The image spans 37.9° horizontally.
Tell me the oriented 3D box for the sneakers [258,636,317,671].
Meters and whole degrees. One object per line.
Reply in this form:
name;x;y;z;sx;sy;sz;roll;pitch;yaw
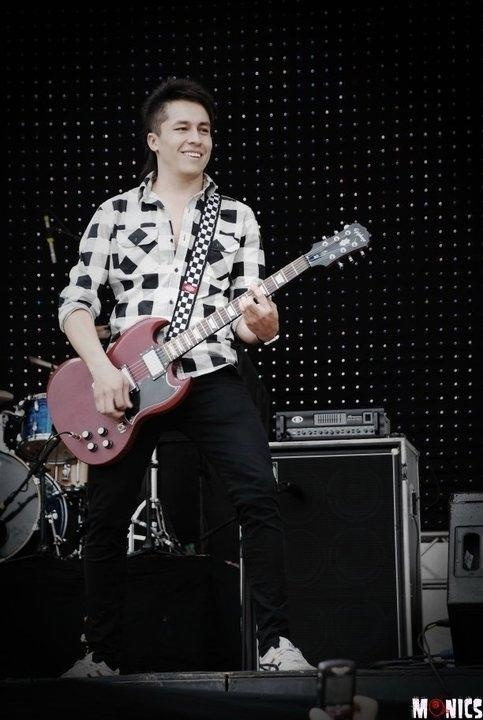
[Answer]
sneakers;0.082;0.568;1.363;0.047;0.059;0.124;27;-28;-29

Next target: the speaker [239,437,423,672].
speaker;0.354;0.695;2.509;0.655;1.097;0.636;-3;-20;11
